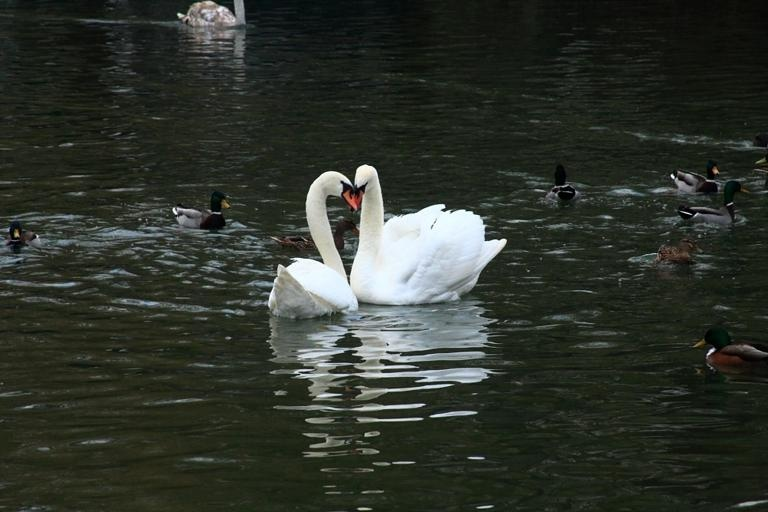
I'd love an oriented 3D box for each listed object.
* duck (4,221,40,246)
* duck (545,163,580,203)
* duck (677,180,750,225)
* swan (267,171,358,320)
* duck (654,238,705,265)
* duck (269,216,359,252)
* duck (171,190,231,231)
[{"bbox_3d":[-8.155,-0.477,22.851,0.763,0.393,0.796,-1,14,4],"label":"duck"},{"bbox_3d":[4.624,-1.879,26.460,0.831,1.009,0.835,4,7,5],"label":"duck"},{"bbox_3d":[8.055,-1.286,24.748,1.416,1.043,0.956,-3,9,-39],"label":"duck"},{"bbox_3d":[-1.276,-0.212,19.567,1.655,2.799,1.749,4,8,-2],"label":"swan"},{"bbox_3d":[6.463,-0.097,22.148,1.026,0.525,0.623,-2,8,-38],"label":"duck"},{"bbox_3d":[-1.186,-0.478,23.675,2.745,0.812,0.656,-3,23,-10],"label":"duck"},{"bbox_3d":[-4.448,-1.101,24.781,1.254,0.897,1.157,2,6,-8],"label":"duck"}]
